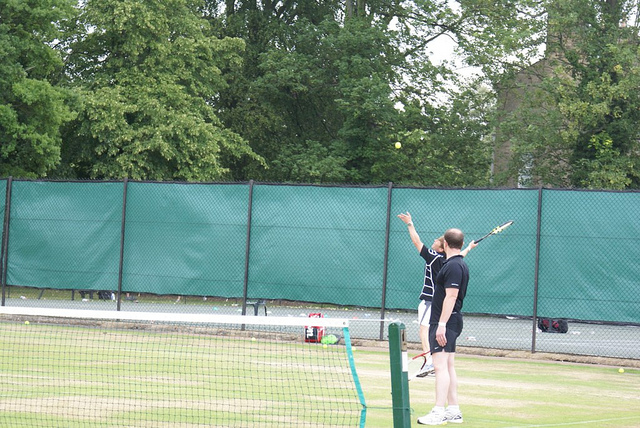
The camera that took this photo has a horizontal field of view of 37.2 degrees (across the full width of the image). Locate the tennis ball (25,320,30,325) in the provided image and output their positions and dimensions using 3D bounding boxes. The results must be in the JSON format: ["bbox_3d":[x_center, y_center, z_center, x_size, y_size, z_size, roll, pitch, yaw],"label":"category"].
[{"bbox_3d":[-8.832,3.337,28.831,0.106,0.112,0.111,0,-4,0],"label":"tennis ball"}]

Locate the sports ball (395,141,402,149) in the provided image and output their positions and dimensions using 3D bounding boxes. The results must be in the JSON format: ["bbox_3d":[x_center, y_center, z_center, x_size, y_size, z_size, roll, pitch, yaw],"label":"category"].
[{"bbox_3d":[3.758,-3.231,45.345,0.251,0.303,0.176,0,32,2],"label":"sports ball"}]

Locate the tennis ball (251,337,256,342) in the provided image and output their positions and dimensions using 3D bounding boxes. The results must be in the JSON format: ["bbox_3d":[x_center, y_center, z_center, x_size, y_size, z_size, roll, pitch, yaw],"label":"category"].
[{"bbox_3d":[-1.935,3.735,28.042,0.106,0.065,0.107,0,3,0],"label":"tennis ball"}]

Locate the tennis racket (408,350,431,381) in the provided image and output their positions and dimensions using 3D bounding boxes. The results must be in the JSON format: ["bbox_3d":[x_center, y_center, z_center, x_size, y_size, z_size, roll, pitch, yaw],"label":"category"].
[{"bbox_3d":[2.645,4.169,25.903,0.427,0.544,1.278,7,-18,-8],"label":"tennis racket"}]

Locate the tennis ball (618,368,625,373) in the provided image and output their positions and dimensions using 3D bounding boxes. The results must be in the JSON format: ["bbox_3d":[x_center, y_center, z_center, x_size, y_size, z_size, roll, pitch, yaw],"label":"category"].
[{"bbox_3d":[8.319,4.345,26.215,0.165,0.109,0.290,1,-5,17],"label":"tennis ball"}]
